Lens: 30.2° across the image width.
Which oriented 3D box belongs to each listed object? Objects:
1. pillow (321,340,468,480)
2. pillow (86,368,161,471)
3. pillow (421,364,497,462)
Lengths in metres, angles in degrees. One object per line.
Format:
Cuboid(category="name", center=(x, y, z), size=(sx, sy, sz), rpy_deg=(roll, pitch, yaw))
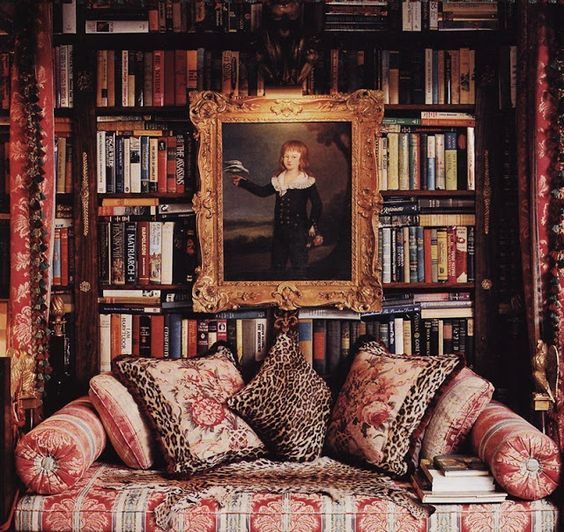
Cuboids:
Cuboid(category="pillow", center=(0.484, 0.604, 4.642), size=(0.156, 0.541, 0.518), rpy_deg=(26, -4, -40))
Cuboid(category="pillow", center=(-0.696, 0.679, 4.600), size=(0.135, 0.364, 0.352), rpy_deg=(-24, 17, -2))
Cuboid(category="pillow", center=(0.753, 0.635, 4.593), size=(0.108, 0.369, 0.345), rpy_deg=(23, 24, -4))
